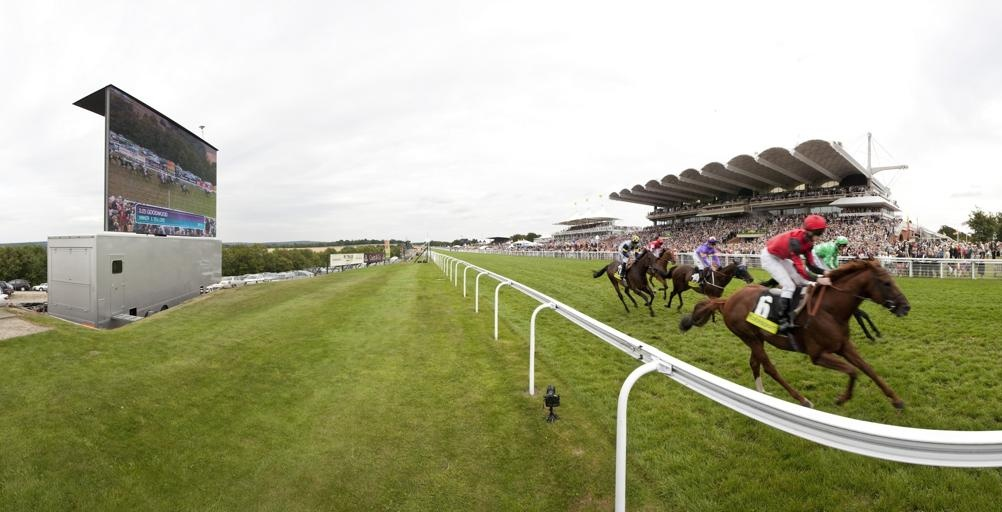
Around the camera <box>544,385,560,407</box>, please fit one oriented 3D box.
[{"bbox_3d":[1.019,2.798,8.883,0.370,0.179,0.490,0,-1,1],"label":"camera"}]

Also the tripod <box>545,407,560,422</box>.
[{"bbox_3d":[1.007,3.137,8.850,0.262,0.312,0.296,-4,-1,3],"label":"tripod"}]

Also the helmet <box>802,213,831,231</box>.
[{"bbox_3d":[6.357,-0.700,8.984,0.408,0.378,0.489,-10,12,-17],"label":"helmet"}]

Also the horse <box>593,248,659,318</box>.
[{"bbox_3d":[4.230,0.828,14.234,1.388,1.897,2.601,-4,-1,11],"label":"horse"}]
